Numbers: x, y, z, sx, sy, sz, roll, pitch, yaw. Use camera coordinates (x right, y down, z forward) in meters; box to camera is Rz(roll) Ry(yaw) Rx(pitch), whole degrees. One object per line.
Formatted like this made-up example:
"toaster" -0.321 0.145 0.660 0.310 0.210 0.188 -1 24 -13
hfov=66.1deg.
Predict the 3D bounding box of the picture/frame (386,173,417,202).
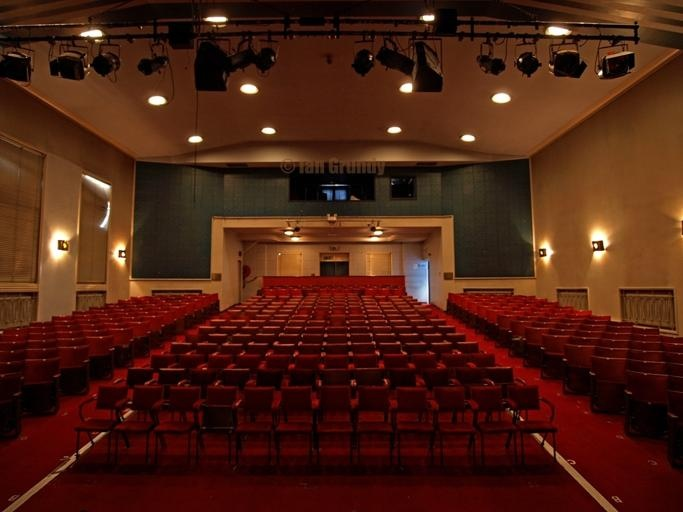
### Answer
"picture/frame" 2.282 -2.592 19.937 0.962 0.923 0.358 1 -1 2

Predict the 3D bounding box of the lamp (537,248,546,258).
"lamp" 6.850 -0.104 17.958 0.207 0.309 0.295 2 -7 -5

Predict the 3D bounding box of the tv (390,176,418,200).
"tv" 2.365 -2.545 19.981 0.793 0.760 0.298 1 -2 0

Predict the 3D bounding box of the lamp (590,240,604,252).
"lamp" 7.249 -0.272 14.884 0.213 0.326 0.410 2 -7 4
